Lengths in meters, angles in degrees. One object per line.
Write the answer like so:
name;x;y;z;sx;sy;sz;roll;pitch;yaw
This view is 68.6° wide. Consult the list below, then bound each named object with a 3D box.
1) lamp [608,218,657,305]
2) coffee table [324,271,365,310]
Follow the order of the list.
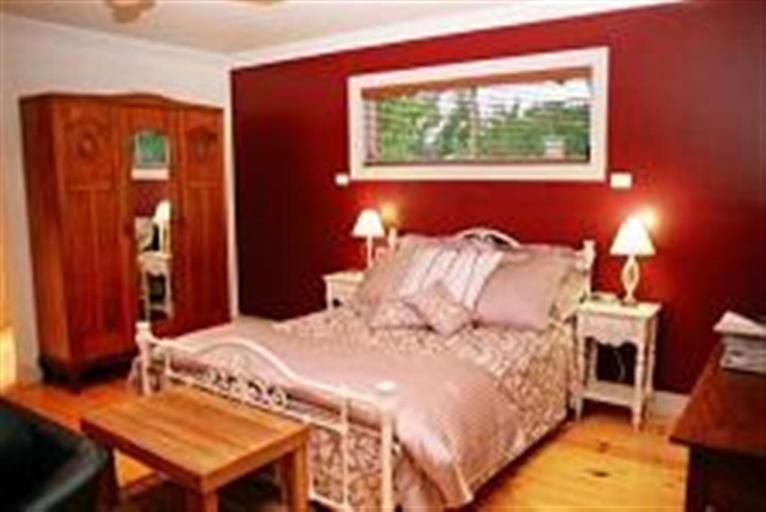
lamp;1.898;0.022;4.298;0.322;0.668;0.260;6;13;22
coffee table;-0.404;0.285;5.489;0.384;0.380;0.424;5;8;36
